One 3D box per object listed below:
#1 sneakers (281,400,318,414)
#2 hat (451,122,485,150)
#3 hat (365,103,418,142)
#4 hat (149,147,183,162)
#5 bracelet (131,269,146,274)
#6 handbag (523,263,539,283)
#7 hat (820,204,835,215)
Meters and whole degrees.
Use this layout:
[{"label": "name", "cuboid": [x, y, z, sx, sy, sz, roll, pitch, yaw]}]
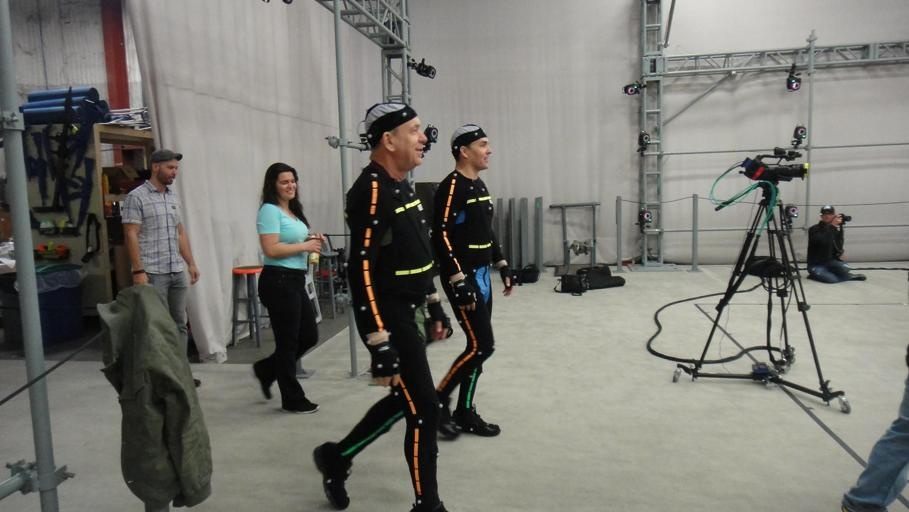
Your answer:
[{"label": "sneakers", "cuboid": [-1.899, 1.832, 8.499, 0.385, 0.149, 0.175, 1, 0, 0]}, {"label": "hat", "cuboid": [0.121, -1.403, 8.120, 0.342, 0.211, 0.326, -6, 15, 21]}, {"label": "hat", "cuboid": [-0.666, -1.364, 7.145, 0.508, 0.387, 0.367, -4, 5, 3]}, {"label": "hat", "cuboid": [-3.684, -1.298, 8.915, 0.305, 0.108, 0.214, -7, 9, -37]}, {"label": "bracelet", "cuboid": [-3.996, 0.193, 8.795, 0.135, 0.056, 0.094, -5, 11, -19]}, {"label": "handbag", "cuboid": [1.583, 0.370, 14.126, 0.307, 0.346, 0.378, -1, -4, 25]}, {"label": "hat", "cuboid": [7.398, -0.964, 13.744, 0.299, 0.201, 0.416, 0, -6, 26]}]
